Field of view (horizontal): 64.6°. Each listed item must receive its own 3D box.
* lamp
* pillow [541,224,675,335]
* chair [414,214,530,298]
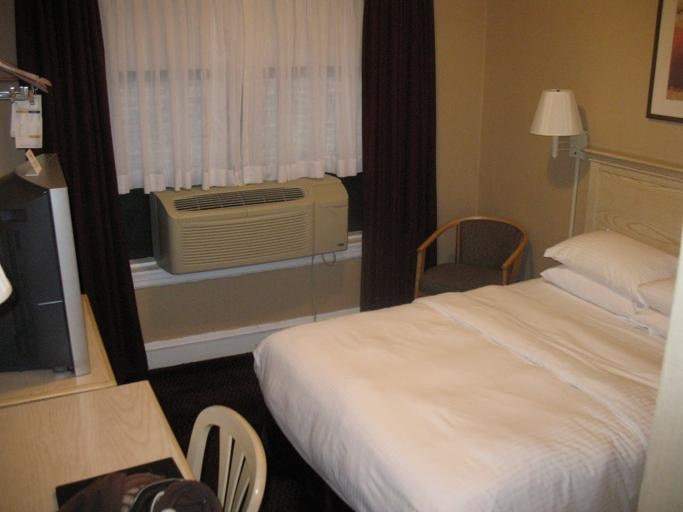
[{"bbox_3d":[1.622,-0.939,4.020,0.392,0.605,0.368,-22,29,-25],"label":"lamp"},{"bbox_3d":[1.773,0.165,3.678,0.633,0.329,0.955,-48,43,-13],"label":"pillow"},{"bbox_3d":[1.096,0.042,4.677,0.740,0.934,0.773,14,23,35],"label":"chair"}]
